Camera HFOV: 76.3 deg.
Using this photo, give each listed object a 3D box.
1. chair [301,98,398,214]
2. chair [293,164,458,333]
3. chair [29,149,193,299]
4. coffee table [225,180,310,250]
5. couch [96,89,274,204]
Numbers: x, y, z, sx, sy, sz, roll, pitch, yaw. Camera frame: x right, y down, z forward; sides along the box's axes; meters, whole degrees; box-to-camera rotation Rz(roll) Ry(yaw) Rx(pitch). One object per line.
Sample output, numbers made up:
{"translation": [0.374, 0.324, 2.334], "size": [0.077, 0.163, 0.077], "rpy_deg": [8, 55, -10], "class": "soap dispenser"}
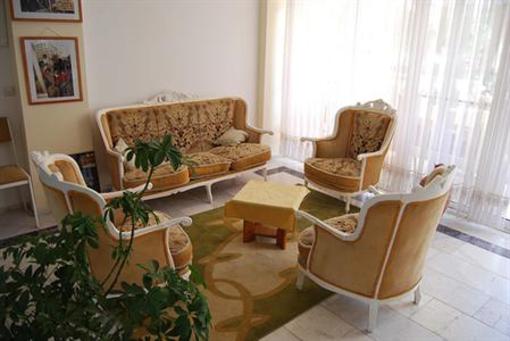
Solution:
{"translation": [1.331, -0.227, 4.549], "size": [1.083, 1.390, 1.138], "rpy_deg": [-9, 22, -20], "class": "chair"}
{"translation": [1.110, 0.617, 3.134], "size": [1.258, 1.416, 1.056], "rpy_deg": [14, 21, 42], "class": "chair"}
{"translation": [-1.188, 0.480, 3.102], "size": [1.279, 1.523, 1.262], "rpy_deg": [6, 18, 2], "class": "chair"}
{"translation": [0.184, 0.558, 3.956], "size": [0.942, 0.572, 1.008], "rpy_deg": [5, 11, 11], "class": "coffee table"}
{"translation": [-0.909, -0.374, 4.725], "size": [2.418, 1.329, 1.088], "rpy_deg": [-15, 29, -37], "class": "couch"}
